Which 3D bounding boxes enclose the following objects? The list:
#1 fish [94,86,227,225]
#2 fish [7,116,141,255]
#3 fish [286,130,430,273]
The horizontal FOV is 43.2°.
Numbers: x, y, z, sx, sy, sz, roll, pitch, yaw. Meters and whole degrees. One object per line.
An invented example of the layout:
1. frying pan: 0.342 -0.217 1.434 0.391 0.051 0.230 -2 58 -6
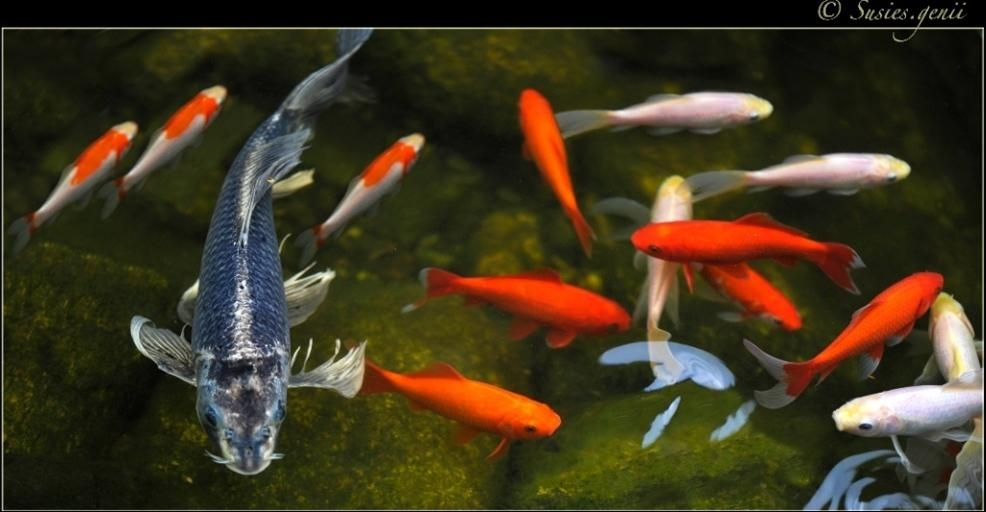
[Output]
1. fish: -2.661 -0.761 10.056 1.388 0.537 0.232 -35 50 0
2. fish: -3.356 -0.517 10.043 1.202 0.474 0.313 -39 73 0
3. fish: -1.116 -0.394 10.046 1.387 0.497 0.226 -35 66 3
